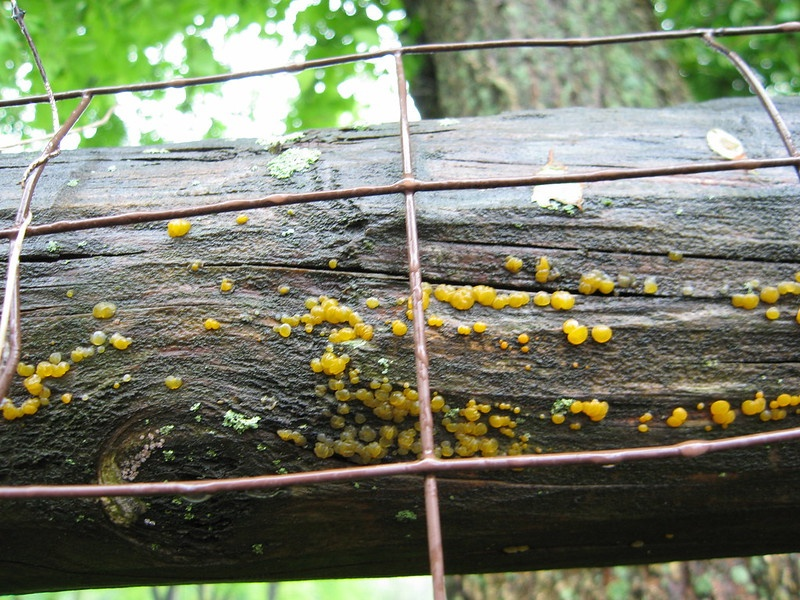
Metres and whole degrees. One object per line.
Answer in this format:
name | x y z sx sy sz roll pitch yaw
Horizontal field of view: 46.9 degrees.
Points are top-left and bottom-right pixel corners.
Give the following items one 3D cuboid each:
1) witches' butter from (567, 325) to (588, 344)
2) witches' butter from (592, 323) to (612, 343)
witches' butter | 0.706 0.138 3.662 0.109 0.063 0.021 8 17 -15
witches' butter | 0.801 0.138 3.669 0.077 0.074 0.027 -2 19 6
